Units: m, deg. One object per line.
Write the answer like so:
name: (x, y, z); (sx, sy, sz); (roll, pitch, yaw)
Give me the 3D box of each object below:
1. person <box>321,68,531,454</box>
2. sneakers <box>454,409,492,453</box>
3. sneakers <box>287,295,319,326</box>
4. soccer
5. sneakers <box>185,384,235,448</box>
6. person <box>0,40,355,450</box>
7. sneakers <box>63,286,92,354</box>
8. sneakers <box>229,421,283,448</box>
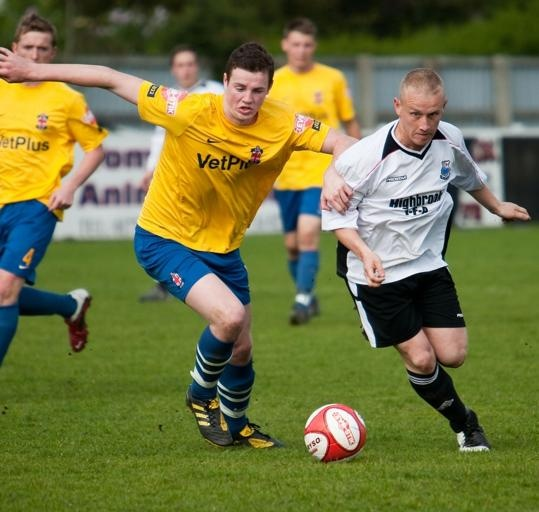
person: (0.787, -0.016, 5.088); (0.919, 1.945, 0.681); (4, 12, 3)
sneakers: (1.077, 0.951, 5.077); (0.144, 0.194, 0.410); (-8, -3, -2)
sneakers: (0.379, 0.504, 8.791); (0.141, 0.289, 0.421); (-2, 11, 28)
soccer: (0.343, 0.913, 4.894); (0.273, 0.211, 0.280); (-1, -9, -11)
sneakers: (-0.353, 0.888, 5.274); (0.137, 0.151, 0.382); (-16, 61, -37)
person: (-0.376, -0.083, 5.259); (1.469, 2.184, 0.687); (8, 12, 20)
sneakers: (-1.262, 0.428, 6.253); (0.152, 0.427, 0.184); (1, 19, 18)
sneakers: (-0.087, 0.977, 5.250); (0.325, 0.138, 0.110); (2, 1, 19)
